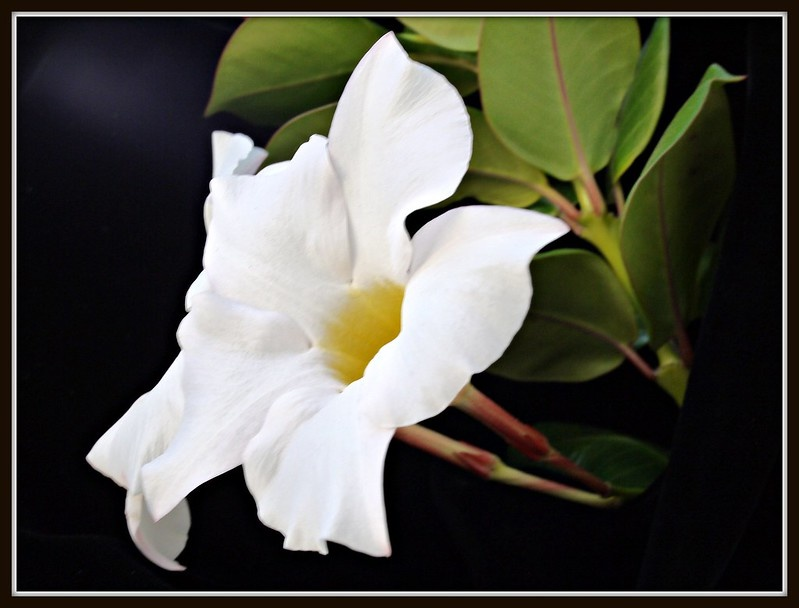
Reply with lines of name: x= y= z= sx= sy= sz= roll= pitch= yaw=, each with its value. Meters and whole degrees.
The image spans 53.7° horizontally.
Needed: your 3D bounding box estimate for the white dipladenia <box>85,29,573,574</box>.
white dipladenia: x=-0.083 y=0.036 z=0.651 sx=0.363 sy=0.480 sz=0.241 roll=18 pitch=27 yaw=35
